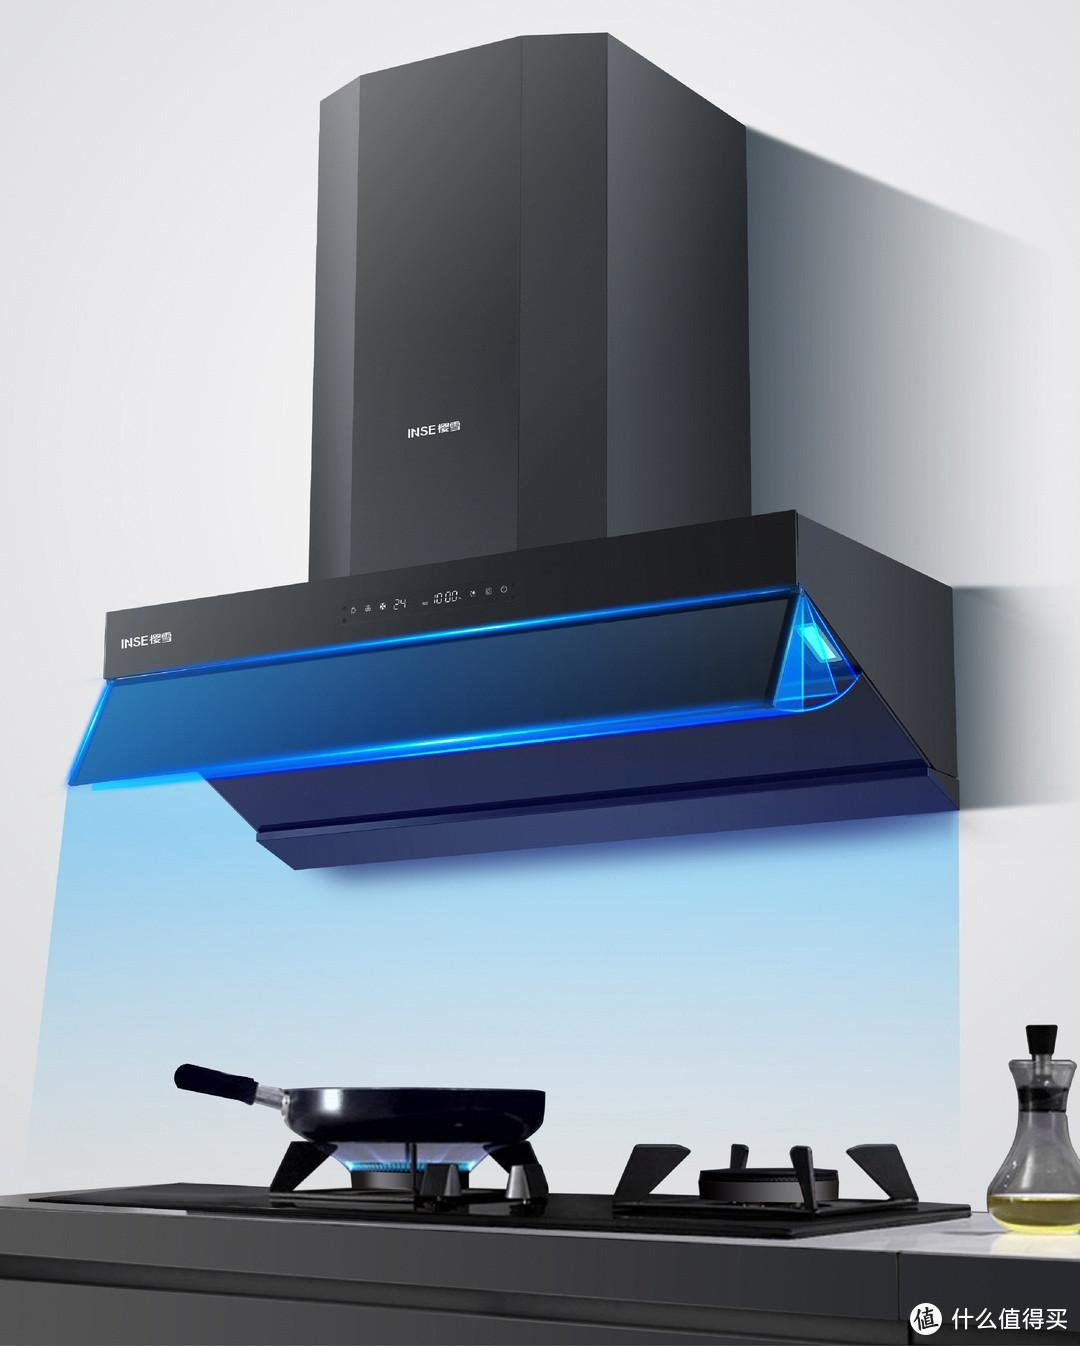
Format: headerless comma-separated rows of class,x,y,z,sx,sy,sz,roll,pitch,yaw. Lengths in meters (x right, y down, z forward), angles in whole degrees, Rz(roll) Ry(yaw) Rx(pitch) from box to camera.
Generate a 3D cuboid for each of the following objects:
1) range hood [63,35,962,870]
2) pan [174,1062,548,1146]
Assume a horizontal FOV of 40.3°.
range hood,-0.054,-0.263,1.907,1.039,0.978,0.576,-4,-10,31
pan,-0.180,0.453,1.527,0.262,0.055,0.161,-6,-18,21
